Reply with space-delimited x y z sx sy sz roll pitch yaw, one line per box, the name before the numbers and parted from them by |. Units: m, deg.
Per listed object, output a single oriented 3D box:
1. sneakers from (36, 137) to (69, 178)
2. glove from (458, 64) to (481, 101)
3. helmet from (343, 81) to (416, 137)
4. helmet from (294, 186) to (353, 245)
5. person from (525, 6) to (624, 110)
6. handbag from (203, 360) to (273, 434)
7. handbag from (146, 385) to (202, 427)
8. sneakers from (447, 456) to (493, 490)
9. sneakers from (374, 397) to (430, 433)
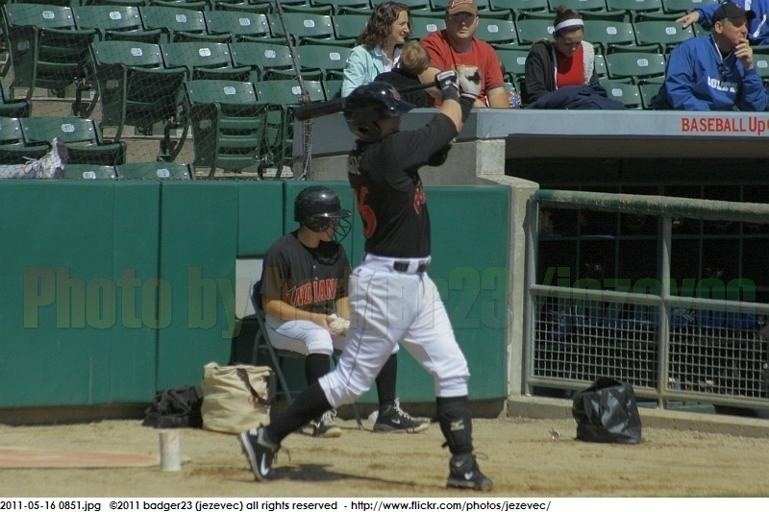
sneakers | -3.097 -0.889 13.424 0.205 0.159 0.493 13 41 -11
glove | 0.657 -1.414 11.533 0.219 0.229 0.103 6 -2 -14
helmet | -0.075 -1.189 11.489 0.599 0.444 0.413 0 18 0
helmet | -0.574 -0.376 12.472 0.510 0.435 0.402 6 8 13
person | 1.828 -1.956 14.057 1.036 1.083 1.045 -8 13 -26
handbag | -1.407 1.213 12.540 0.623 0.556 0.560 4 1 -17
handbag | -1.846 1.308 12.583 0.460 0.190 0.564 17 26 -18
sneakers | 0.603 1.711 11.382 0.429 0.269 0.148 11 -13 -26
sneakers | 0.198 1.394 12.457 0.614 0.276 0.203 -2 2 -1
